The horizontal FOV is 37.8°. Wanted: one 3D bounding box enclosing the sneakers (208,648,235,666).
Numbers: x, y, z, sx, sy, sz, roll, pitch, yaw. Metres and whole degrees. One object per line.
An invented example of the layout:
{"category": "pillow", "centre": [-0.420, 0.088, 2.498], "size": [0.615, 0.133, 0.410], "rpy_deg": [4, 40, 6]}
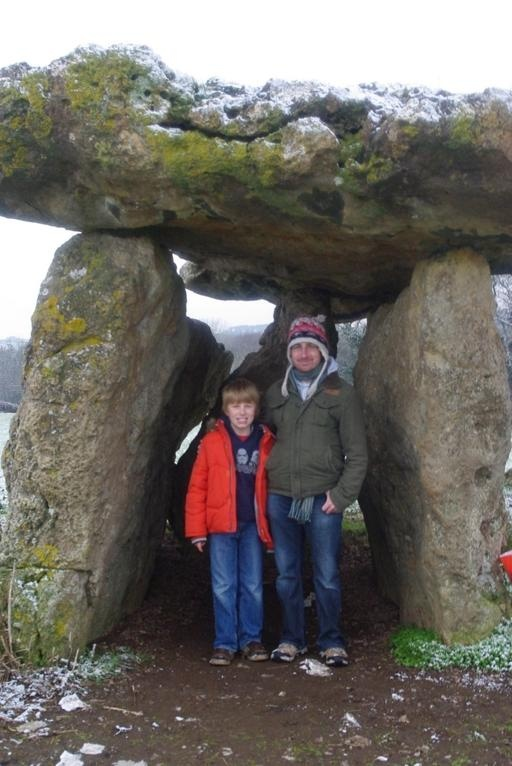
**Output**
{"category": "sneakers", "centre": [-0.183, 1.466, 4.019], "size": [0.155, 0.081, 0.113], "rpy_deg": [1, -8, -20]}

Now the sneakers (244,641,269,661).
{"category": "sneakers", "centre": [-0.020, 1.457, 4.061], "size": [0.153, 0.092, 0.103], "rpy_deg": [-3, -8, 13]}

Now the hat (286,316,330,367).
{"category": "hat", "centre": [0.301, -0.258, 4.469], "size": [0.223, 0.279, 0.296], "rpy_deg": [-1, -15, 4]}

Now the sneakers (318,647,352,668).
{"category": "sneakers", "centre": [0.408, 1.430, 3.925], "size": [0.114, 0.094, 0.143], "rpy_deg": [-1, -7, -7]}

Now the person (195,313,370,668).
{"category": "person", "centre": [0.316, 0.533, 4.172], "size": [0.624, 1.934, 0.380], "rpy_deg": [-4, -8, 17]}

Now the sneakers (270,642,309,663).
{"category": "sneakers", "centre": [0.181, 1.468, 4.055], "size": [0.207, 0.091, 0.075], "rpy_deg": [12, -25, -35]}
